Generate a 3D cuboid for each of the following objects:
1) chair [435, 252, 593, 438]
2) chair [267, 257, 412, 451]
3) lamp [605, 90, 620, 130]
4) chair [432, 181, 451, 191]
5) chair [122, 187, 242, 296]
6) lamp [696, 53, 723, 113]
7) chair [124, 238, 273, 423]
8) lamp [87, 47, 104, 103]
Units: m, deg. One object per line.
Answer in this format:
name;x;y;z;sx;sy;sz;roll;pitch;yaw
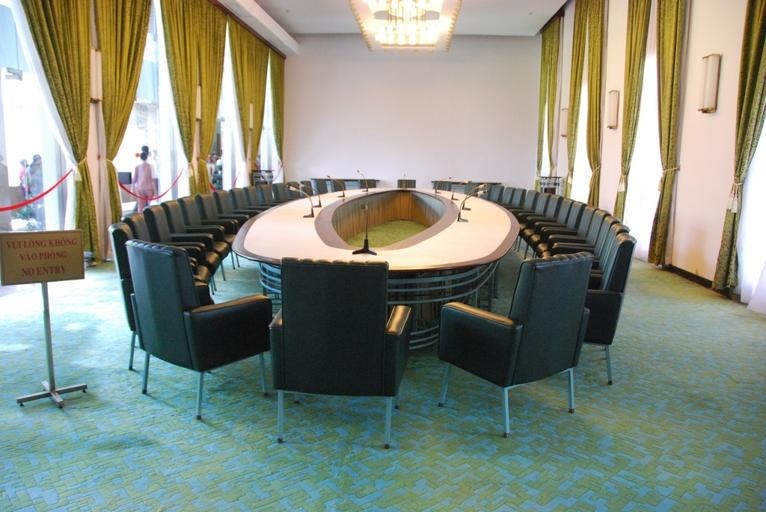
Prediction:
chair;0.965;0.571;3.718;0.896;1.156;0.849;-3;6;-32
chair;-0.251;0.622;3.509;0.908;1.158;0.690;1;2;11
lamp;4.104;-2.603;9.016;0.151;0.663;0.300;-1;12;-2
chair;1.330;-1.566;11.302;0.477;0.221;0.732;0;16;5
chair;-2.067;-0.169;5.387;0.971;1.194;0.884;1;12;4
lamp;4.118;-2.159;6.384;0.188;0.700;0.261;2;12;9
chair;-1.403;0.474;3.862;0.867;1.105;0.910;-4;9;-44
lamp;-3.956;-2.489;6.963;0.161;0.704;0.235;-4;13;-19
